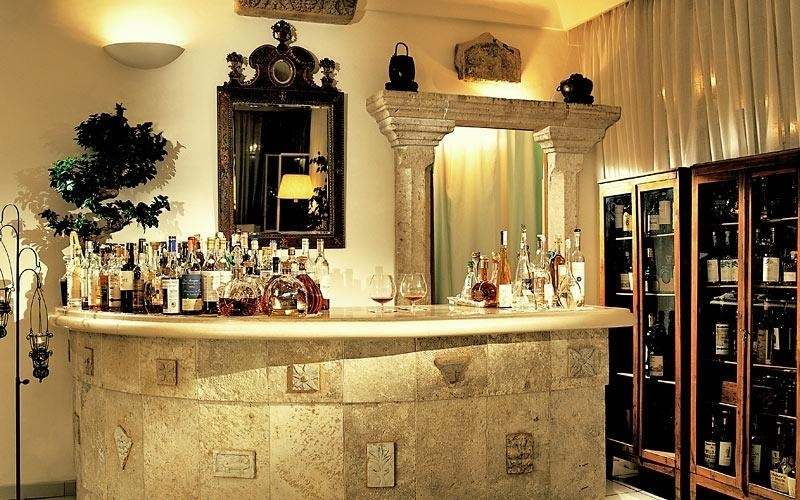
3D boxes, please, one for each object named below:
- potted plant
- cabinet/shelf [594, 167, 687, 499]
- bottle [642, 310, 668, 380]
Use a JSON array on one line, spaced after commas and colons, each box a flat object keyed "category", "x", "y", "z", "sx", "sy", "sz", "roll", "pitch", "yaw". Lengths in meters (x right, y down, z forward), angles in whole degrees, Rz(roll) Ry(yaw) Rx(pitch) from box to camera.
[{"category": "potted plant", "x": -2.285, "y": -0.694, "z": 6.492, "sx": 0.605, "sy": 0.893, "sz": 0.720, "roll": 23, "pitch": 11, "yaw": 42}, {"category": "cabinet/shelf", "x": 2.124, "y": 0.696, "z": 6.915, "sx": 0.255, "sy": 2.727, "sz": 0.850, "roll": -1, "pitch": 1, "yaw": -29}, {"category": "bottle", "x": 2.198, "y": 0.819, "z": 6.878, "sx": 0.189, "sy": 0.556, "sz": 0.047, "roll": 0, "pitch": 1, "yaw": 38}]
